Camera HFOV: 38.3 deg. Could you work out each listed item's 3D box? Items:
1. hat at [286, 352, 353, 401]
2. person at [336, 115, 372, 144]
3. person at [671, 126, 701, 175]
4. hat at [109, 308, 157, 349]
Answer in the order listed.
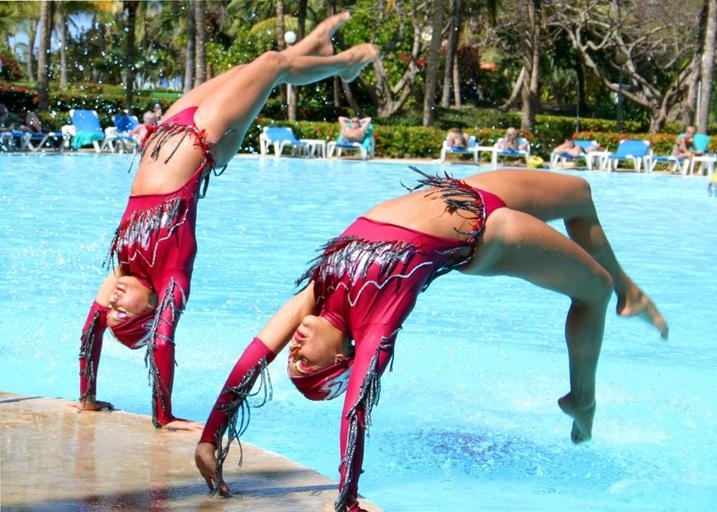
[{"bbox_3d":[-0.238,0.849,6.766,0.327,0.268,0.408,6,8,26],"label":"hat"},{"bbox_3d":[-0.100,-2.909,23.750,0.501,0.793,0.307,3,7,10],"label":"person"},{"bbox_3d":[7.348,-2.340,23.128,0.595,1.085,0.376,2,-10,42],"label":"person"},{"bbox_3d":[-1.605,0.528,7.303,0.303,0.298,0.143,1,8,-14],"label":"hat"}]
